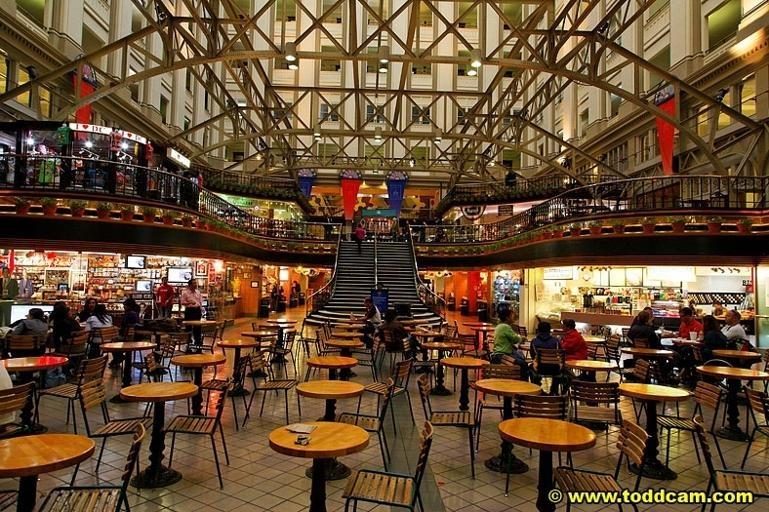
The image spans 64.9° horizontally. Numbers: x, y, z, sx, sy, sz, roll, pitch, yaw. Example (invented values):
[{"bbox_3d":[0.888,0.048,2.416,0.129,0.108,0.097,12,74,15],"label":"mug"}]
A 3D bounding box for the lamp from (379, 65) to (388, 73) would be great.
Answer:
[{"bbox_3d":[-0.049,-7.141,23.078,0.277,0.073,0.237,0,0,-25],"label":"lamp"}]

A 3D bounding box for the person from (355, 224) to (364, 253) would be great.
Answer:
[{"bbox_3d":[-1.318,-0.863,31.421,0.371,1.303,1.264,2,-3,-7],"label":"person"}]

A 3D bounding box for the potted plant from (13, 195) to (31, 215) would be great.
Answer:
[{"bbox_3d":[-11.455,-1.620,19.447,0.582,0.522,0.513,1,-6,-10],"label":"potted plant"}]

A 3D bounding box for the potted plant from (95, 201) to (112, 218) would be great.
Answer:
[{"bbox_3d":[-9.268,-1.531,20.005,0.511,0.361,0.516,-4,-5,40],"label":"potted plant"}]

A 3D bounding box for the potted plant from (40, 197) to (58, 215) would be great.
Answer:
[{"bbox_3d":[-10.741,-1.602,19.459,0.528,0.486,0.514,1,-3,-10],"label":"potted plant"}]

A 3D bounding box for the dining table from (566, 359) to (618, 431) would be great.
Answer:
[{"bbox_3d":[5.114,3.224,14.545,1.576,1.566,1.449,0,-4,-10],"label":"dining table"}]

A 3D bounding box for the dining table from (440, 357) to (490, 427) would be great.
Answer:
[{"bbox_3d":[1.912,3.112,14.613,1.339,1.262,1.217,1,-5,-4],"label":"dining table"}]

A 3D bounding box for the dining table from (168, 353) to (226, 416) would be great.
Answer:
[{"bbox_3d":[-4.387,3.057,14.151,1.595,1.550,1.453,2,-4,-31],"label":"dining table"}]

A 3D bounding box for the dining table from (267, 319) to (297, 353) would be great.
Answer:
[{"bbox_3d":[-2.990,2.526,19.085,1.272,1.108,1.077,2,-4,-17],"label":"dining table"}]

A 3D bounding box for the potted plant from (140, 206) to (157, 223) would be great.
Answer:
[{"bbox_3d":[-8.115,-1.433,20.923,0.506,0.359,0.498,-2,-4,27],"label":"potted plant"}]

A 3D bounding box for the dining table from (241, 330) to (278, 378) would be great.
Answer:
[{"bbox_3d":[-3.540,2.778,17.293,1.386,1.338,1.284,4,-6,-17],"label":"dining table"}]

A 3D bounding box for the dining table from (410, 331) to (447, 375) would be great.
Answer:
[{"bbox_3d":[1.257,2.864,18.139,1.305,0.877,1.197,0,-3,0],"label":"dining table"}]

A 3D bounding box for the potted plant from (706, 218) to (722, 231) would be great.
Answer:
[{"bbox_3d":[11.181,-1.058,20.678,0.439,0.310,0.423,5,-9,-32],"label":"potted plant"}]

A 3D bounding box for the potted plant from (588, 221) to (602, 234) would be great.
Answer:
[{"bbox_3d":[7.613,-1.018,22.032,0.425,0.298,0.419,-3,-4,28],"label":"potted plant"}]

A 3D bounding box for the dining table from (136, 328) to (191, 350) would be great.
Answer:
[{"bbox_3d":[-6.172,2.290,16.957,1.162,0.734,1.064,1,-4,-5],"label":"dining table"}]

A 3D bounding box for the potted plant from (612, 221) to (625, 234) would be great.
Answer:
[{"bbox_3d":[8.277,-1.025,21.567,0.417,0.292,0.411,-4,-8,28],"label":"potted plant"}]

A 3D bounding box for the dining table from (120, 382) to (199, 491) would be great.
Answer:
[{"bbox_3d":[-4.716,3.529,12.420,1.897,1.894,1.826,1,-6,-13],"label":"dining table"}]

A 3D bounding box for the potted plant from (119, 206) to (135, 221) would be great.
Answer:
[{"bbox_3d":[-8.668,-1.460,20.480,0.501,0.336,0.479,3,-6,-27],"label":"potted plant"}]

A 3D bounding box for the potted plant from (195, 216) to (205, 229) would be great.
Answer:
[{"bbox_3d":[-6.917,-1.257,22.791,0.430,0.296,0.410,4,-11,-25],"label":"potted plant"}]

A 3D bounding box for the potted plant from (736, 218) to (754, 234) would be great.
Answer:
[{"bbox_3d":[12.175,-1.003,20.641,0.534,0.343,0.519,5,-7,-39],"label":"potted plant"}]

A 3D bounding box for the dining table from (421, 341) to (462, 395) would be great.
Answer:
[{"bbox_3d":[1.460,2.956,16.132,1.354,1.313,1.259,1,-7,-1],"label":"dining table"}]

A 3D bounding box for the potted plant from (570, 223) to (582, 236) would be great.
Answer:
[{"bbox_3d":[7.073,-1.007,22.606,0.432,0.294,0.415,6,-11,-32],"label":"potted plant"}]

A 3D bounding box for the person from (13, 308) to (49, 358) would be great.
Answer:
[{"bbox_3d":[-8.982,1.878,15.437,0.900,1.098,0.835,6,-1,-2],"label":"person"}]

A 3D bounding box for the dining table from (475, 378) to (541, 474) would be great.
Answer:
[{"bbox_3d":[2.640,3.507,12.823,1.732,1.734,1.676,0,-4,1],"label":"dining table"}]

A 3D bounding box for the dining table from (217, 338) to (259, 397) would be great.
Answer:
[{"bbox_3d":[-3.712,2.867,15.380,1.471,1.588,1.350,0,-5,-3],"label":"dining table"}]

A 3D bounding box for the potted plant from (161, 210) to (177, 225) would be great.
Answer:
[{"bbox_3d":[-7.621,-1.371,21.425,0.493,0.337,0.483,-1,-3,24],"label":"potted plant"}]

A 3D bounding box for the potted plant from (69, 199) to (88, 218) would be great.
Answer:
[{"bbox_3d":[-9.981,-1.558,19.917,0.607,0.550,0.501,1,-6,-24],"label":"potted plant"}]

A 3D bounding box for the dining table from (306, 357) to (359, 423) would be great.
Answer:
[{"bbox_3d":[-1.275,3.056,14.208,1.444,1.436,1.378,1,-4,0],"label":"dining table"}]

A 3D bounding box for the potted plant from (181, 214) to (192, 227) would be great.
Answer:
[{"bbox_3d":[-7.207,-1.309,22.124,0.181,0.432,0.545,0,-3,22],"label":"potted plant"}]

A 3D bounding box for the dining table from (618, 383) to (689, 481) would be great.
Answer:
[{"bbox_3d":[5.586,3.538,12.960,1.770,1.919,1.782,0,2,23],"label":"dining table"}]

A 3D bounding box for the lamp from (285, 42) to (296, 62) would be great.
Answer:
[{"bbox_3d":[-3.244,-7.104,20.932,0.378,0.622,0.977,2,-3,-10],"label":"lamp"}]

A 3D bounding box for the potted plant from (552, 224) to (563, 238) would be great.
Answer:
[{"bbox_3d":[6.624,-0.978,23.298,0.453,0.468,0.497,-2,-4,12],"label":"potted plant"}]

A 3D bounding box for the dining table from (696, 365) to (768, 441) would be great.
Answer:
[{"bbox_3d":[8.086,3.378,13.923,1.742,1.618,1.626,1,-7,8],"label":"dining table"}]

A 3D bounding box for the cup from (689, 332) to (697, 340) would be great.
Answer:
[{"bbox_3d":[8.459,2.191,16.641,0.224,0.221,0.189,1,-3,10],"label":"cup"}]

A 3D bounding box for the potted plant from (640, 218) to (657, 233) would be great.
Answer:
[{"bbox_3d":[9.161,-1.052,21.230,0.493,0.344,0.475,7,-12,-32],"label":"potted plant"}]

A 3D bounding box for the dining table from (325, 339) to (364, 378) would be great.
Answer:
[{"bbox_3d":[-1.093,2.850,16.351,1.302,0.878,1.239,1,-2,2],"label":"dining table"}]

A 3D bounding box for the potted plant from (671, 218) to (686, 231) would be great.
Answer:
[{"bbox_3d":[10.056,-1.095,20.837,0.436,0.314,0.427,-2,-4,24],"label":"potted plant"}]
